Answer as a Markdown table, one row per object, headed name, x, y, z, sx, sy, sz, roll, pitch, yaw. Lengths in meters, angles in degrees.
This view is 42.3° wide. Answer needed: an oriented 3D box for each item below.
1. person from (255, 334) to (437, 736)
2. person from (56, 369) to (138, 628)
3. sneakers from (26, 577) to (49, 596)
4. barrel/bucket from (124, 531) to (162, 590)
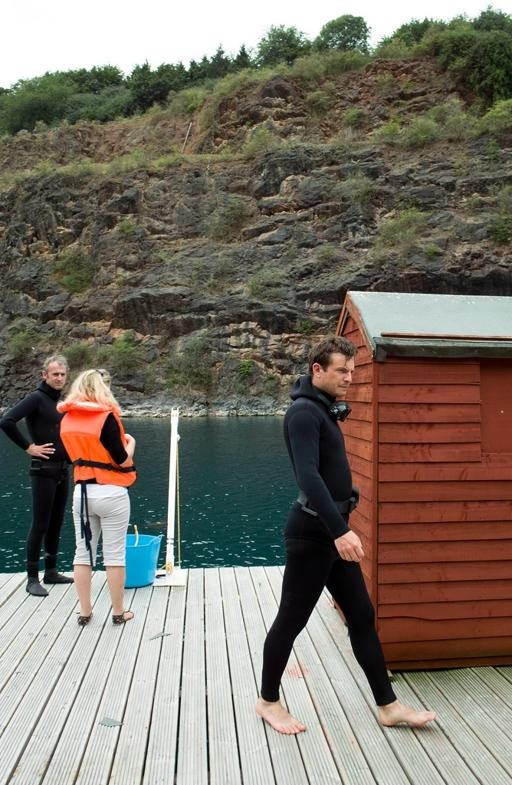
| name | x | y | z | sx | sy | sz | roll | pitch | yaw |
| --- | --- | --- | --- | --- | --- | --- | --- | --- | --- |
| person | 0.341 | 0.633 | 2.977 | 0.562 | 1.769 | 0.632 | -4 | 5 | -43 |
| person | -0.975 | 0.658 | 4.122 | 0.458 | 1.601 | 0.360 | -1 | 4 | -14 |
| sneakers | -1.579 | 1.404 | 4.793 | 0.081 | 0.096 | 0.238 | 2 | -11 | -31 |
| barrel/bucket | -0.868 | 1.241 | 4.940 | 0.365 | 0.326 | 0.390 | -1 | -4 | 0 |
